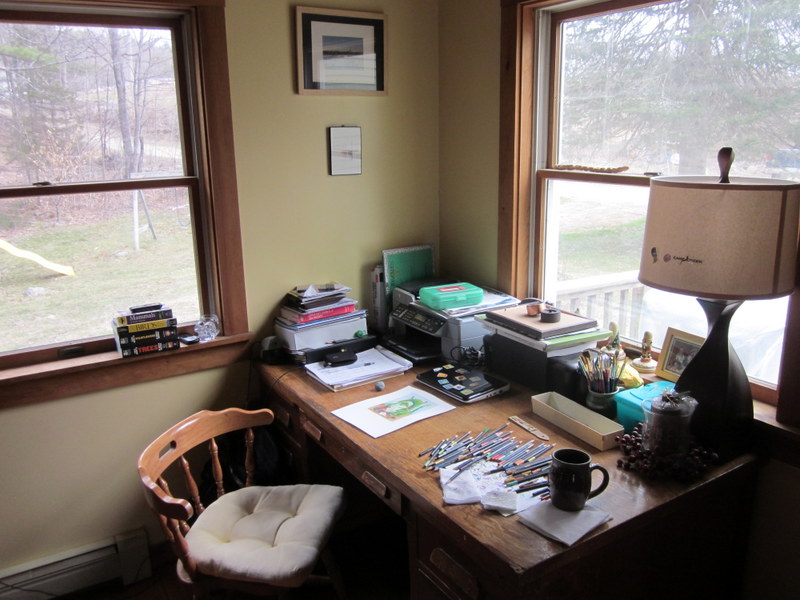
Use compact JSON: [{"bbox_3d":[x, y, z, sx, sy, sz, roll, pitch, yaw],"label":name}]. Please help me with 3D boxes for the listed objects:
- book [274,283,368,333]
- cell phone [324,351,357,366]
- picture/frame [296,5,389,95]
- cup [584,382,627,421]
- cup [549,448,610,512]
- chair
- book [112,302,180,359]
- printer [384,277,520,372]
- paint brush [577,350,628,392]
[{"bbox_3d":[-0.431,0.006,2.844,0.250,0.095,0.250,-18,21,-35],"label":"book"},{"bbox_3d":[-0.268,0.267,2.705,0.095,0.022,0.070,-8,16,-25],"label":"cell phone"},{"bbox_3d":[-0.290,-1.190,2.794,0.460,0.351,0.016,-8,16,-25],"label":"picture/frame"},{"bbox_3d":[0.740,0.373,2.143,0.111,0.170,0.118,-2,3,0],"label":"cup"},{"bbox_3d":[0.505,0.528,1.790,0.204,0.155,0.130,-1,12,-15],"label":"cup"},{"bbox_3d":[-0.634,0.812,2.371,0.569,0.749,0.584,5,32,19],"label":"chair"},{"bbox_3d":[-1.136,0.106,2.656,0.245,0.230,0.230,-12,15,-42],"label":"book"},{"bbox_3d":[0.214,0.085,2.743,0.459,0.235,0.454,-16,22,-24],"label":"printer"},{"bbox_3d":[0.745,0.268,2.183,0.096,0.081,0.137,16,55,-15],"label":"paint brush"}]
